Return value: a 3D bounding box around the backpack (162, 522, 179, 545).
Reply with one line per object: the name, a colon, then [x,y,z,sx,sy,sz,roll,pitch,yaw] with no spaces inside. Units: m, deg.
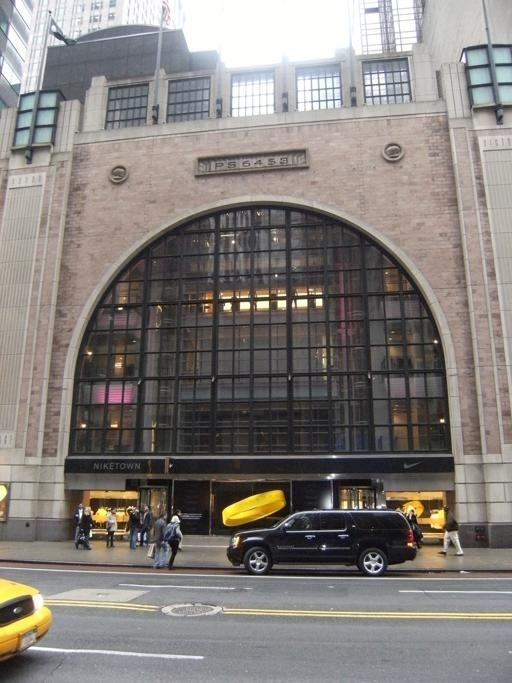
backpack: [-2.342,5.169,16.547,0.429,0.541,0.533,-13,-23,38]
